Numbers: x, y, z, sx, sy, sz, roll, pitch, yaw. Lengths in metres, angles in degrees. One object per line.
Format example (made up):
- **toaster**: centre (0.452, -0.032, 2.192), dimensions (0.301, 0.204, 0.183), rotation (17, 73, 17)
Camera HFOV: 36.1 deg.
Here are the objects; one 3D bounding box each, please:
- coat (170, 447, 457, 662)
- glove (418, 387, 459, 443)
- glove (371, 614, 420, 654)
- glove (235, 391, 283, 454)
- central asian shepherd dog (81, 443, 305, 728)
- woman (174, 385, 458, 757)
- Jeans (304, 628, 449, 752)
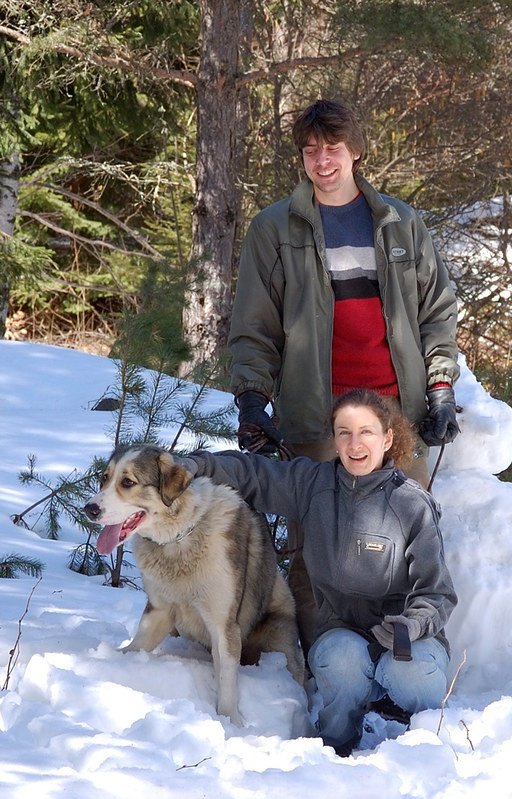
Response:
- **coat**: centre (0.201, 0.618, 3.100), dimensions (0.993, 0.814, 0.330), rotation (-2, -10, 19)
- **glove**: centre (0.815, 0.060, 3.414), dimensions (0.192, 0.240, 0.109), rotation (-1, -26, 47)
- **glove**: centre (0.474, 0.798, 2.717), dimensions (0.067, 0.109, 0.151), rotation (-22, 11, -16)
- **glove**: centre (0.015, 0.096, 3.310), dimensions (0.190, 0.247, 0.119), rotation (6, -7, 25)
- **central asian shepherd dog**: centre (-0.256, 0.772, 3.240), dimensions (0.564, 1.023, 1.119), rotation (-6, -14, 35)
- **woman**: centre (0.273, 0.740, 3.184), dimensions (1.038, 1.428, 0.788), rotation (-4, -10, 24)
- **Jeans**: centre (0.444, 1.047, 2.844), dimensions (0.488, 0.433, 0.307), rotation (5, 29, 19)
